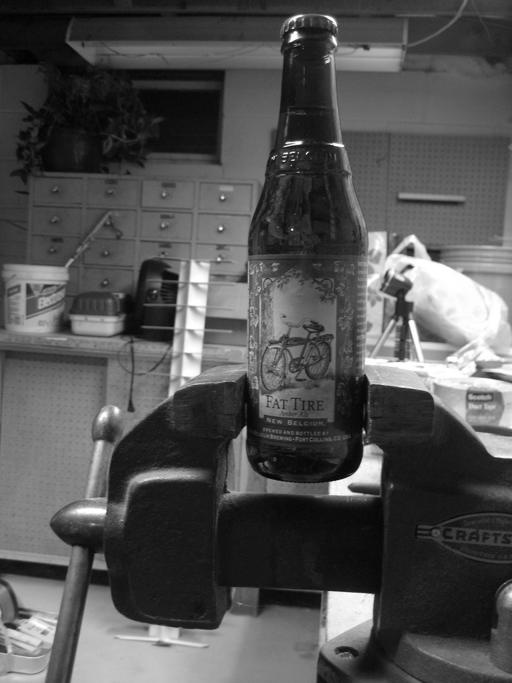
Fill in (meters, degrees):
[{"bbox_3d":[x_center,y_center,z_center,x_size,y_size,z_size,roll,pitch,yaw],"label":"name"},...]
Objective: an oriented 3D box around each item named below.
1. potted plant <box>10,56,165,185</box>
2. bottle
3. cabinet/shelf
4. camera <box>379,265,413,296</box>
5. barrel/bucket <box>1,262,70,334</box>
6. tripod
[{"bbox_3d":[-0.830,-1.043,3.289,0.816,0.662,0.326,10,40,-7],"label":"potted plant"},{"bbox_3d":[0.039,-0.055,0.435,0.088,0.289,0.077,2,5,-5],"label":"bottle"},{"bbox_3d":[-0.467,-0.426,3.441,1.372,0.760,0.425,9,12,30],"label":"cabinet/shelf"},{"bbox_3d":[0.348,-0.152,1.730,0.087,0.077,0.050,9,4,26],"label":"camera"},{"bbox_3d":[-0.841,-0.168,2.777,0.304,0.264,0.280,3,2,0],"label":"barrel/bucket"},{"bbox_3d":[0.368,-0.046,1.707,0.151,0.185,0.153,1,7,-24],"label":"tripod"}]
